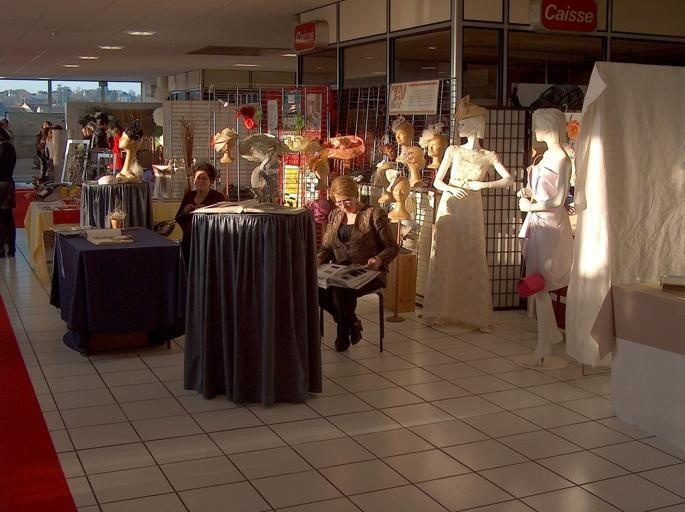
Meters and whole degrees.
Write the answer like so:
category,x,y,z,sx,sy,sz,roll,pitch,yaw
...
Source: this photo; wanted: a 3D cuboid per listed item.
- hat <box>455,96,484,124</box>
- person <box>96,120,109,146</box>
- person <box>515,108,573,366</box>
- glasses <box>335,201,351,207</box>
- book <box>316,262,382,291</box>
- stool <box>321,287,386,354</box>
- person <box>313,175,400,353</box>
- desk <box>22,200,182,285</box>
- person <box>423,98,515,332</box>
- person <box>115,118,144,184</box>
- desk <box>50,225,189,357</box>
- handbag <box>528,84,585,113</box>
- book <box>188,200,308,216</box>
category,x,y,z,sx,sy,sz,roll,pitch,yaw
hat,1.382,-1.529,5.380,0.364,0.283,0.309,2,10,-12
person,-4.799,-2.446,9.979,0.249,0.629,0.896,-3,9,-25
person,1.787,-0.169,4.451,0.480,2.264,0.487,4,8,21
glasses,0.008,-0.507,4.817,0.069,0.038,0.086,-4,-13,27
book,0.000,0.217,4.600,0.578,0.248,0.374,5,10,24
stool,0.127,0.651,5.126,0.736,0.723,0.553,0,-4,-8
person,0.130,0.066,4.870,0.789,1.667,0.537,2,8,7
desk,-2.724,-0.161,5.601,1.190,0.603,1.202,-1,6,-21
person,1.313,-0.452,5.450,0.811,2.477,0.398,2,8,9
person,-2.873,-1.431,6.776,0.356,0.856,0.395,7,12,-10
desk,-2.155,0.277,4.908,0.993,0.789,1.304,-3,8,-26
handbag,2.675,-1.931,6.123,0.787,0.311,0.707,-2,21,27
book,-0.691,-0.355,3.654,0.791,0.103,0.300,3,9,15
